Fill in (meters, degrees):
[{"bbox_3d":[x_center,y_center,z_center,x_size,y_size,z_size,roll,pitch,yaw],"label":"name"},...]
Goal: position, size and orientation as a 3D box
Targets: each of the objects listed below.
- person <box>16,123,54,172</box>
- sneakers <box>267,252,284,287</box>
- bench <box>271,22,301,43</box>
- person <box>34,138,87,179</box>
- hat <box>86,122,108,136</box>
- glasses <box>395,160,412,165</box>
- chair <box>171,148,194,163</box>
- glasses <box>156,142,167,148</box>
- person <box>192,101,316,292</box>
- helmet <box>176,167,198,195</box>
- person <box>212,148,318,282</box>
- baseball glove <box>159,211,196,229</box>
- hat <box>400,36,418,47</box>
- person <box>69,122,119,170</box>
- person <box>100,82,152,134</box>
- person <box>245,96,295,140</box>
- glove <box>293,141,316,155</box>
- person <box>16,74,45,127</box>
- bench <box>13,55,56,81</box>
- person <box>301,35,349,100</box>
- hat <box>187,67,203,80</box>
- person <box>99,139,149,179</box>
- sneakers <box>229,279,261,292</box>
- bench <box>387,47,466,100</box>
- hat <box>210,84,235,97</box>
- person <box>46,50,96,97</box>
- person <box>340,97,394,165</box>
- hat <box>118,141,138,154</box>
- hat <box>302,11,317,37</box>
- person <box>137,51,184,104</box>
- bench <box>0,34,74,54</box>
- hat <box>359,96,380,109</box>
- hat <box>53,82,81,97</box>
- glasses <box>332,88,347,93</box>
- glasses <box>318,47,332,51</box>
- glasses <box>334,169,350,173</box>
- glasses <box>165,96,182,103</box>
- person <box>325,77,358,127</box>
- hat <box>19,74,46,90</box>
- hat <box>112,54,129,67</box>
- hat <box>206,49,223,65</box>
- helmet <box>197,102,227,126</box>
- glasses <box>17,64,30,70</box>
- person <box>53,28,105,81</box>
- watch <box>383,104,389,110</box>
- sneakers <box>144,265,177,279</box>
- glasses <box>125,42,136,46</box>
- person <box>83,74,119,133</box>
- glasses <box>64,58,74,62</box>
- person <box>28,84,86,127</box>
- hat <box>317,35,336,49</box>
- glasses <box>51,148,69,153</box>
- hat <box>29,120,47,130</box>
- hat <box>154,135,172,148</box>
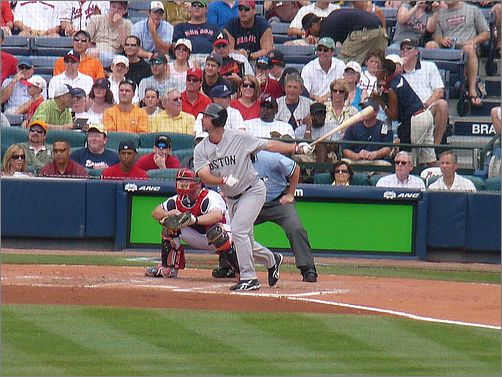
[{"bbox_3d":[-3.319,-0.589,18.240,0.551,1.030,0.333,-2,-34,-12],"label":"person"},{"bbox_3d":[0.303,1.067,15.406,0.188,0.474,0.146,22,-15,-40],"label":"sneakers"},{"bbox_3d":[0.584,-2.902,22.089,0.426,0.403,0.430,1,1,-2],"label":"bench"},{"bbox_3d":[-2.901,-0.412,18.161,0.712,0.619,0.360,-3,-5,2],"label":"person"},{"bbox_3d":[-2.366,-0.901,18.249,0.277,0.202,0.359,0,1,-7],"label":"hat"},{"bbox_3d":[2.344,-0.384,18.371,0.206,0.054,0.071,0,1,25],"label":"glasses"},{"bbox_3d":[-1.059,-0.512,18.445,0.240,0.328,0.234,1,4,10],"label":"chair"},{"bbox_3d":[-1.351,-0.658,18.095,0.136,0.099,0.192,5,-5,-2],"label":"glasses"},{"bbox_3d":[-0.082,0.124,15.057,1.193,2.370,0.569,-1,1,-26],"label":"person"},{"bbox_3d":[-0.836,-0.076,15.350,0.252,0.292,0.301,1,-9,35],"label":"helmet"},{"bbox_3d":[0.133,0.400,15.760,1.477,2.186,1.010,-5,-1,11],"label":"person"},{"bbox_3d":[-0.924,0.429,15.126,0.219,0.131,0.305,-4,6,37],"label":"baseball glove"},{"bbox_3d":[2.694,-2.464,20.130,0.274,0.148,0.315,0,1,7],"label":"hat"},{"bbox_3d":[-2.438,-0.615,18.392,0.620,0.844,0.237,1,-14,-2],"label":"person"},{"bbox_3d":[-2.006,-1.181,18.907,0.677,1.081,0.610,0,-8,3],"label":"person"},{"bbox_3d":[0.284,-1.073,18.527,0.630,1.163,0.363,-2,-17,-1],"label":"person"},{"bbox_3d":[0.721,-0.547,16.153,0.212,0.120,0.305,2,4,5],"label":"glove"},{"bbox_3d":[-3.572,-1.502,19.565,0.322,0.991,0.450,-13,27,-24],"label":"person"},{"bbox_3d":[-3.743,-2.175,20.760,0.701,0.544,0.426,1,-1,-3],"label":"bench"},{"bbox_3d":[1.263,-2.047,20.257,0.864,1.375,0.967,2,14,7],"label":"person"},{"bbox_3d":[-0.878,-1.825,19.050,0.203,0.168,0.352,8,0,4],"label":"hat"},{"bbox_3d":[-1.921,-0.364,18.205,0.745,0.617,0.342,2,-2,-10],"label":"person"},{"bbox_3d":[-0.069,1.242,15.031,0.378,0.195,0.141,-1,0,-18],"label":"sneakers"},{"bbox_3d":[3.343,-2.174,21.064,1.350,1.058,0.771,1,4,10],"label":"bench"},{"bbox_3d":[-0.483,-1.515,18.509,0.269,0.154,0.202,-1,7,15],"label":"hat"},{"bbox_3d":[-2.969,-1.884,19.782,0.700,1.129,0.580,1,-17,-4],"label":"person"},{"bbox_3d":[1.891,-0.867,18.897,1.002,1.523,0.874,1,-5,6],"label":"person"},{"bbox_3d":[-1.866,-0.602,17.941,0.196,0.140,0.208,0,-1,-4],"label":"hat"},{"bbox_3d":[1.077,-2.968,21.489,0.304,0.308,0.220,40,-1,-43],"label":"hat"},{"bbox_3d":[-1.484,-1.792,19.561,0.783,1.120,0.349,-3,-9,2],"label":"person"},{"bbox_3d":[-3.850,-2.565,21.263,1.086,0.433,0.452,0,4,-13],"label":"bench"},{"bbox_3d":[1.833,-1.287,18.106,0.382,0.195,0.302,8,8,14],"label":"hat"},{"bbox_3d":[-2.965,-1.572,19.005,0.322,0.141,0.210,-7,12,-32],"label":"hat"},{"bbox_3d":[1.423,-1.551,19.053,0.229,0.076,0.109,0,1,3],"label":"glasses"},{"bbox_3d":[1.239,-2.344,20.038,0.261,0.082,0.115,0,1,28],"label":"glasses"},{"bbox_3d":[1.408,-0.254,18.369,0.220,0.054,0.069,0,1,5],"label":"glasses"},{"bbox_3d":[-1.214,-1.400,18.838,0.218,0.088,0.131,-1,1,-17],"label":"glasses"},{"bbox_3d":[1.463,-1.346,18.907,0.882,0.808,0.459,0,-1,4],"label":"person"},{"bbox_3d":[-3.576,-1.756,19.570,0.309,0.133,0.221,13,6,-10],"label":"hat"},{"bbox_3d":[-2.167,-2.112,19.787,0.286,0.184,0.217,-1,1,-18],"label":"hat"},{"bbox_3d":[-0.577,-2.110,19.394,0.310,0.207,0.134,-1,1,-42],"label":"hat"},{"bbox_3d":[-0.444,-0.932,14.801,0.274,0.239,0.251,-4,16,-12],"label":"helmet"},{"bbox_3d":[-3.836,-2.033,20.015,0.140,0.096,0.204,-2,-6,0],"label":"glasses"},{"bbox_3d":[-2.911,-2.255,20.331,0.905,0.565,1.813,-1,38,-6],"label":"person"},{"bbox_3d":[2.225,-1.331,19.446,0.115,0.062,0.085,-1,1,-37],"label":"watch"},{"bbox_3d":[-1.176,1.120,15.610,0.294,0.134,0.195,4,-2,4],"label":"sneakers"},{"bbox_3d":[-2.028,-2.414,20.055,0.184,0.046,0.051,0,1,3],"label":"glasses"},{"bbox_3d":[-2.470,-1.442,19.308,0.486,0.547,1.049,4,14,-10],"label":"person"},{"bbox_3d":[-3.016,-2.131,19.767,0.182,0.074,0.070,0,1,2],"label":"glasses"},{"bbox_3d":[-3.087,-1.337,18.909,0.394,0.660,0.902,0,1,38],"label":"person"},{"bbox_3d":[1.300,-2.462,20.113,0.330,0.215,0.290,-1,1,-15],"label":"hat"},{"bbox_3d":[-2.870,-0.561,17.973,0.246,0.068,0.107,-1,1,-14],"label":"glasses"},{"bbox_3d":[-3.259,-0.956,18.151,0.283,0.167,0.161,-1,1,-28],"label":"hat"},{"bbox_3d":[-1.334,-0.685,18.096,0.229,0.176,0.339,6,-4,-2],"label":"hat"}]
